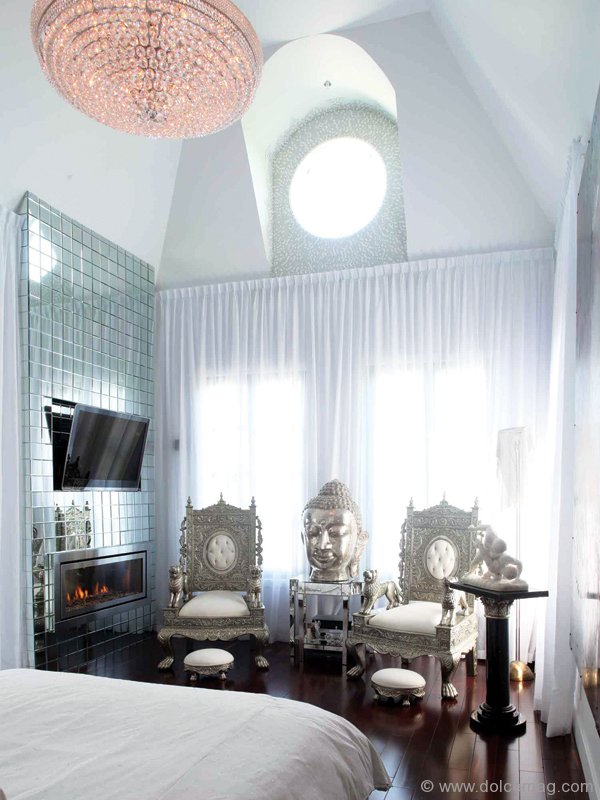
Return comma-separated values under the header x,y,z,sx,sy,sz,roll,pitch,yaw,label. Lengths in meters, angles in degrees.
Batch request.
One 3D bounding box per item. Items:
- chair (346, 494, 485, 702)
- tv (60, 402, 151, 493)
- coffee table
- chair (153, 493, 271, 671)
x,y,z,sx,sy,sz,roll,pitch,yaw,label
0.792,1.290,3.974,0.861,1.192,0.914,-3,-8,23,chair
-1.559,0.407,4.810,0.029,0.642,0.941,7,-6,22,tv
0.152,1.740,4.561,0.526,0.800,0.587,2,-18,-4,coffee table
-0.645,1.380,4.551,0.785,1.202,0.781,1,-7,-6,chair
